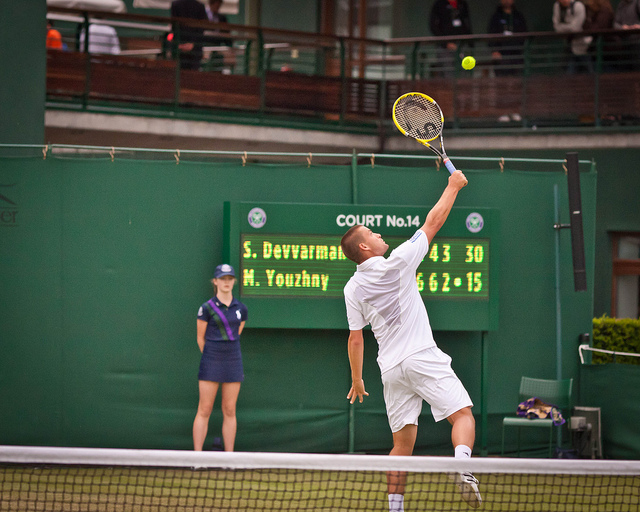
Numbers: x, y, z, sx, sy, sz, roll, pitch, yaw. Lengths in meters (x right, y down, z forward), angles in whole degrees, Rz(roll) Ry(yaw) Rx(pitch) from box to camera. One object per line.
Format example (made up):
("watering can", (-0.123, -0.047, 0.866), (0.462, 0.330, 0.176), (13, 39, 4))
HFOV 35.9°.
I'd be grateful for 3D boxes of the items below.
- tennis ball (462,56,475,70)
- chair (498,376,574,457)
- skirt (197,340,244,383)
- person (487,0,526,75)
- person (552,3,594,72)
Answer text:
("tennis ball", (2.351, -3.072, 15.666), (0.182, 0.219, 0.240), (0, -5, 3))
("chair", (2.580, 1.961, 11.830), (0.716, 1.080, 0.664), (8, -5, -41))
("skirt", (-1.130, 1.210, 11.283), (0.434, 0.513, 0.395), (4, 2, -36))
("person", (3.399, -3.888, 17.934), (0.670, 1.645, 2.744), (0, -6, 10))
("person", (4.438, -3.805, 17.208), (0.641, 1.176, 0.764), (-2, -5, 24))
